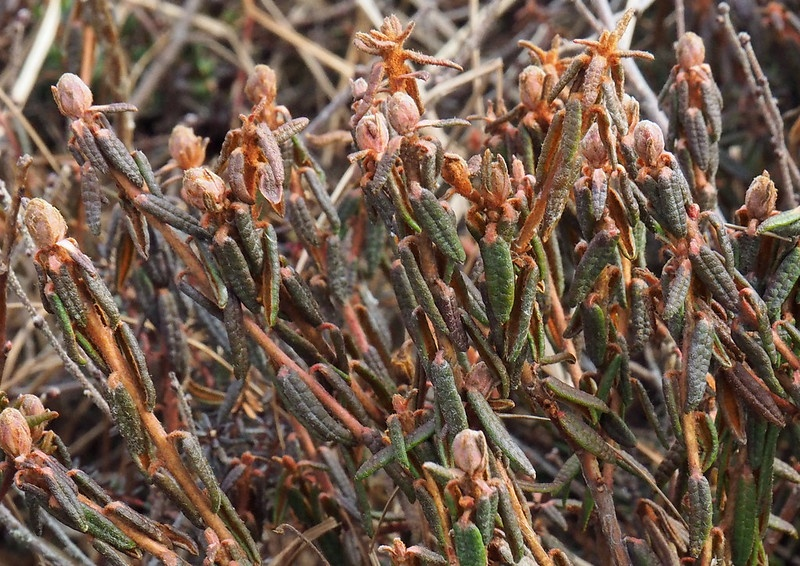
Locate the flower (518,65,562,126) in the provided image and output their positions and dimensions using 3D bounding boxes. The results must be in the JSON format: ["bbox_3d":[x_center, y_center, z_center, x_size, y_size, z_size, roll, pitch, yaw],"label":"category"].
[{"bbox_3d":[0.191,-0.264,1.637,0.059,0.090,0.040,-2,11,16],"label":"flower"}]

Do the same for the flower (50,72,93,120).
[{"bbox_3d":[-0.434,-0.246,1.531,0.045,0.066,0.021,-24,19,-19],"label":"flower"}]

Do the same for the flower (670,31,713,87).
[{"bbox_3d":[0.438,-0.340,1.734,0.061,0.084,0.064,-19,21,-35],"label":"flower"}]

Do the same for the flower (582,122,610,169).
[{"bbox_3d":[0.257,-0.182,1.536,0.041,0.053,0.019,32,52,32],"label":"flower"}]

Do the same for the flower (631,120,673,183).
[{"bbox_3d":[0.330,-0.176,1.527,0.050,0.082,0.032,-17,15,-37],"label":"flower"}]

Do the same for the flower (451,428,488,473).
[{"bbox_3d":[0.093,0.202,1.444,0.034,0.058,0.021,-3,16,-5],"label":"flower"}]
